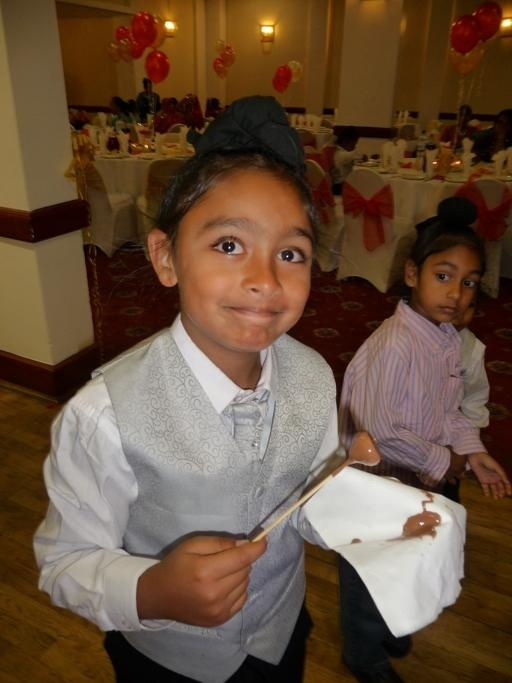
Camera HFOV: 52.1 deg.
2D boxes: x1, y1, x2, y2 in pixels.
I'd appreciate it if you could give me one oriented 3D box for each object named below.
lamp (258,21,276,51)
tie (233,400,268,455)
[{"bbox_3d":[0.246,-6.910,11.831,0.517,0.697,0.523,0,21,1],"label":"lamp"},{"bbox_3d":[-0.010,0.117,0.716,0.068,0.065,0.024,4,-12,-21],"label":"tie"}]
